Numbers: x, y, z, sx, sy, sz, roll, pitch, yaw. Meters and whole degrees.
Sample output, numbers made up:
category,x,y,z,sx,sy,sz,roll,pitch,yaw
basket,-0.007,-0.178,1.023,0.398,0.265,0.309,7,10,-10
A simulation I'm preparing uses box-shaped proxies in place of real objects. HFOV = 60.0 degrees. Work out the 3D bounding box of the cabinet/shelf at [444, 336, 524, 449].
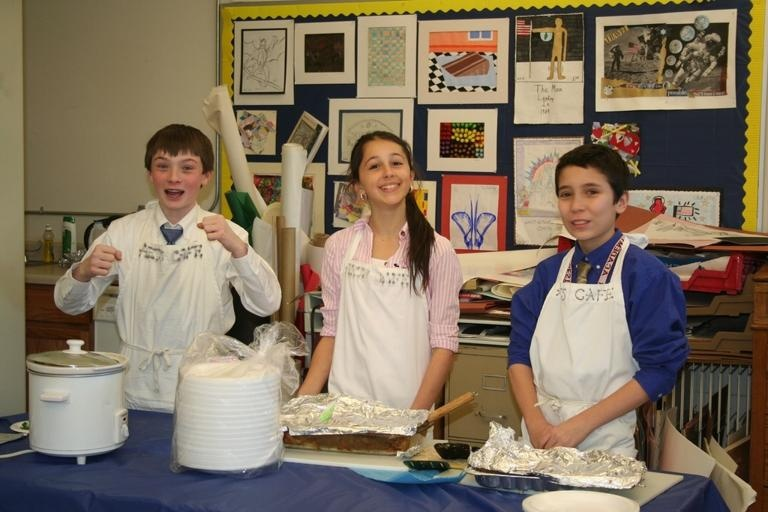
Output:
category,x,y,z,sx,sy,sz,roll,pitch,yaw
cabinet/shelf,0.492,0.699,3.344,0.362,0.493,0.272,2,13,5

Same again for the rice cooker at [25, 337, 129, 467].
category,x,y,z,sx,sy,sz,roll,pitch,yaw
rice cooker,-1.033,0.478,2.233,0.320,0.389,0.190,-1,7,-20

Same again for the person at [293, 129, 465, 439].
category,x,y,z,sx,sy,sz,roll,pitch,yaw
person,0.032,0.155,2.885,0.564,1.300,0.527,0,1,4

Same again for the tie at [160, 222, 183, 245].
category,x,y,z,sx,sy,sz,roll,pitch,yaw
tie,-0.898,-0.091,2.802,0.096,0.088,0.029,0,-5,-1

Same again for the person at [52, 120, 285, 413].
category,x,y,z,sx,sy,sz,roll,pitch,yaw
person,-0.852,0.088,3.013,0.889,1.300,0.808,1,2,9

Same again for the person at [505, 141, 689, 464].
category,x,y,z,sx,sy,sz,roll,pitch,yaw
person,0.803,0.151,2.505,0.584,1.134,0.439,-1,7,-13

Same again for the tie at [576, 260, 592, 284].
category,x,y,z,sx,sy,sz,roll,pitch,yaw
tie,0.753,0.062,2.527,0.053,0.080,0.020,4,-12,33

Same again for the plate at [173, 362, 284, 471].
category,x,y,z,sx,sy,sz,roll,pitch,yaw
plate,-0.509,0.512,2.158,0.351,0.340,0.176,1,7,-3
